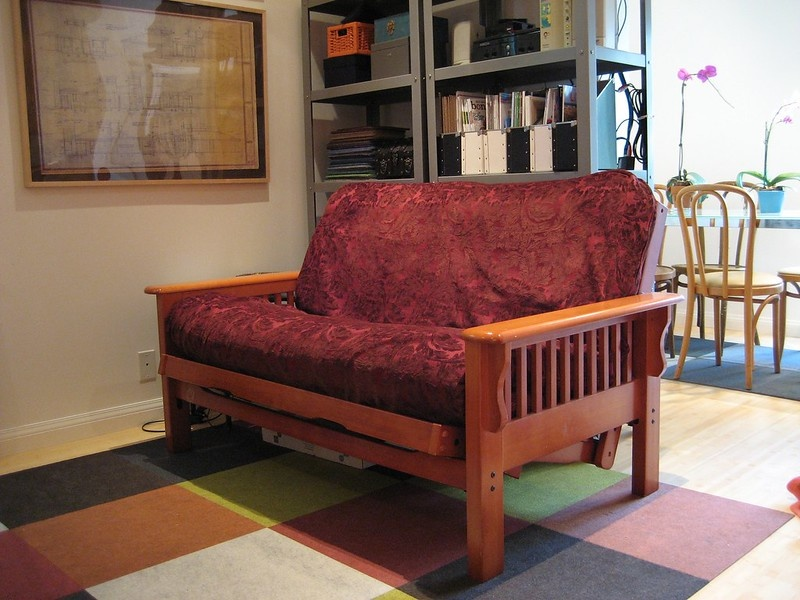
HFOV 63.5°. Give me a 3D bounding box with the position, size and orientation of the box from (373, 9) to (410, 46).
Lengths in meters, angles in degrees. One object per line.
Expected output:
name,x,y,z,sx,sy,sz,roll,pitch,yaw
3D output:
box,-0.034,-1.472,3.550,0.208,0.119,0.198,8,14,35

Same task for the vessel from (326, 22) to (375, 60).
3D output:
vessel,-0.290,-1.475,3.661,0.235,0.135,0.228,2,12,12

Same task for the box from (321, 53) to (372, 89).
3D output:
box,-0.300,-1.291,3.701,0.212,0.122,0.213,10,18,38

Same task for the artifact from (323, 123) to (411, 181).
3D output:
artifact,-0.188,-0.811,3.683,0.337,0.207,0.455,8,10,42

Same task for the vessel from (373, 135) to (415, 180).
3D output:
vessel,-0.083,-0.792,3.643,0.288,0.177,0.229,-9,18,-27

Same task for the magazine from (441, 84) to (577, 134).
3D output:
magazine,0.542,-0.924,3.128,0.751,0.200,0.199,9,15,44

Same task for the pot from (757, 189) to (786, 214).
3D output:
pot,2.122,-0.562,3.684,0.163,0.111,0.156,-2,5,0
